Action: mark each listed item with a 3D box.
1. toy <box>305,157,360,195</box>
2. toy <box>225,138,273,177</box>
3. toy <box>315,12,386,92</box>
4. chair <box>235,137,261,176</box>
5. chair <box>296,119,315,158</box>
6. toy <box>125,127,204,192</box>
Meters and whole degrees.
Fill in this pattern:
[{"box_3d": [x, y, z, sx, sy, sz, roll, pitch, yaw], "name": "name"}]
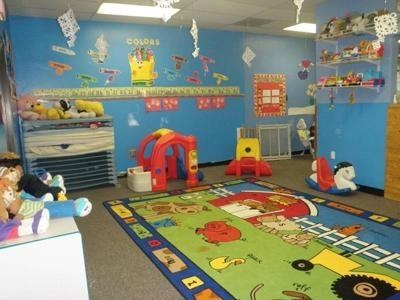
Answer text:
[{"box_3d": [1.903, 0.378, 4.147, 0.361, 0.542, 0.831, -5, 6, -39], "name": "toy"}, {"box_3d": [0.874, 0.179, 5.300, 1.181, 0.862, 0.630, 0, 1, 6], "name": "toy"}, {"box_3d": [2.158, -1.439, 4.023, 0.343, 1.100, 0.945, -8, 12, -29], "name": "toy"}, {"box_3d": [0.899, 0.070, 5.305, 0.550, 0.809, 0.638, 0, -1, 5], "name": "chair"}, {"box_3d": [2.561, -0.306, 6.813, 0.425, 0.888, 1.022, 1, 11, 19], "name": "chair"}, {"box_3d": [-0.657, 0.101, 4.881, 1.082, 1.121, 1.156, -9, 16, -26], "name": "toy"}]
